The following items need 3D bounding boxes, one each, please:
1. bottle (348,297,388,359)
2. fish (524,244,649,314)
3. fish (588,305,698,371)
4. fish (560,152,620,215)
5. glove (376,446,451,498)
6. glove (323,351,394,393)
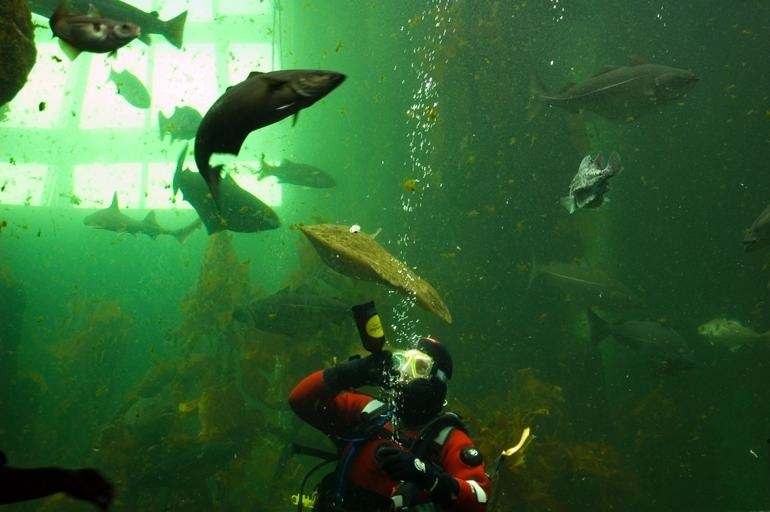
[{"bbox_3d":[-0.177,0.865,9.441,0.330,0.677,0.149,-11,12,-13],"label":"bottle"},{"bbox_3d":[2.722,0.374,11.017,1.521,0.664,0.159,4,4,2],"label":"fish"},{"bbox_3d":[3.433,1.111,10.897,1.138,0.601,0.308,22,23,11],"label":"fish"},{"bbox_3d":[2.533,-0.903,10.155,0.378,0.687,1.044,-12,-9,-22],"label":"fish"},{"bbox_3d":[0.331,2.483,9.323,0.687,0.247,0.551,25,-9,3],"label":"glove"},{"bbox_3d":[-0.332,1.414,9.931,0.608,0.215,0.488,-21,-6,19],"label":"glove"}]
